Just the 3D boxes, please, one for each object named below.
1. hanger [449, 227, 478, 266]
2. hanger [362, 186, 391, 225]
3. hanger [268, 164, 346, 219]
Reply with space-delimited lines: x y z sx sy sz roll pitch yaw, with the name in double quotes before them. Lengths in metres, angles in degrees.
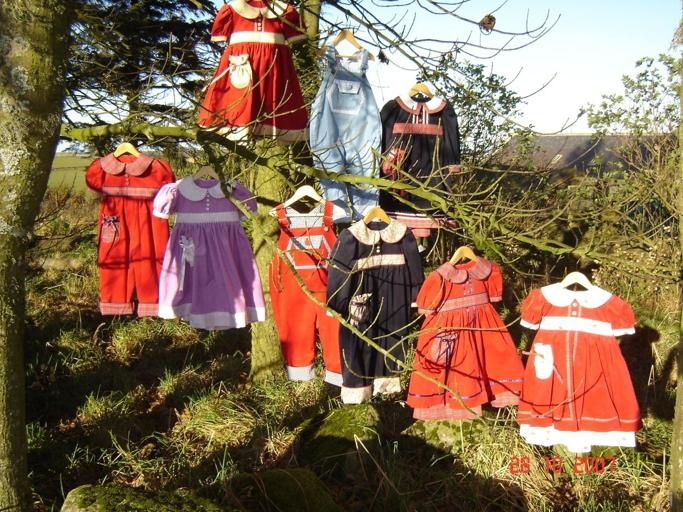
"hanger" 1.263 -0.011 5.953 0.287 0.201 0.755 4 2 13
"hanger" 0.336 -0.521 5.858 0.446 0.334 0.048 1 25 2
"hanger" -0.355 -0.564 6.017 0.766 0.309 0.342 5 2 27
